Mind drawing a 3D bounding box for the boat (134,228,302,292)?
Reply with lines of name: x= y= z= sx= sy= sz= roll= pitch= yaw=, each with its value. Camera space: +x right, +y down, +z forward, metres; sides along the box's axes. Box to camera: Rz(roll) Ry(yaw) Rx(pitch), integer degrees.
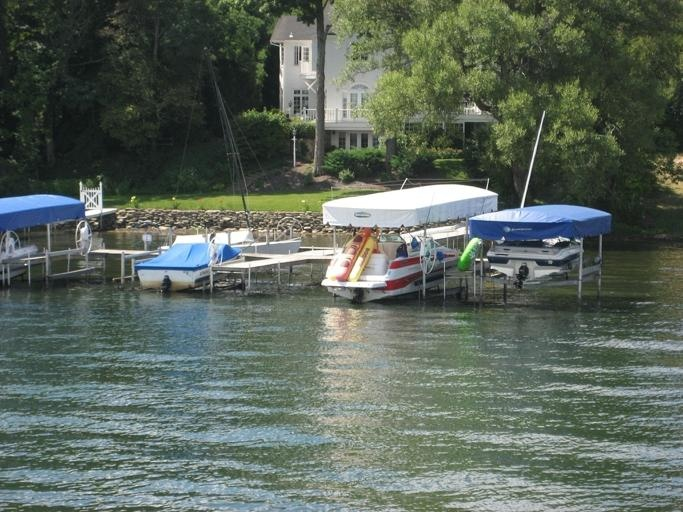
boat: x=-6.122 y=-0.239 z=86.906 sx=3.198 sy=2.152 sz=9.354 roll=10 pitch=16 yaw=37
